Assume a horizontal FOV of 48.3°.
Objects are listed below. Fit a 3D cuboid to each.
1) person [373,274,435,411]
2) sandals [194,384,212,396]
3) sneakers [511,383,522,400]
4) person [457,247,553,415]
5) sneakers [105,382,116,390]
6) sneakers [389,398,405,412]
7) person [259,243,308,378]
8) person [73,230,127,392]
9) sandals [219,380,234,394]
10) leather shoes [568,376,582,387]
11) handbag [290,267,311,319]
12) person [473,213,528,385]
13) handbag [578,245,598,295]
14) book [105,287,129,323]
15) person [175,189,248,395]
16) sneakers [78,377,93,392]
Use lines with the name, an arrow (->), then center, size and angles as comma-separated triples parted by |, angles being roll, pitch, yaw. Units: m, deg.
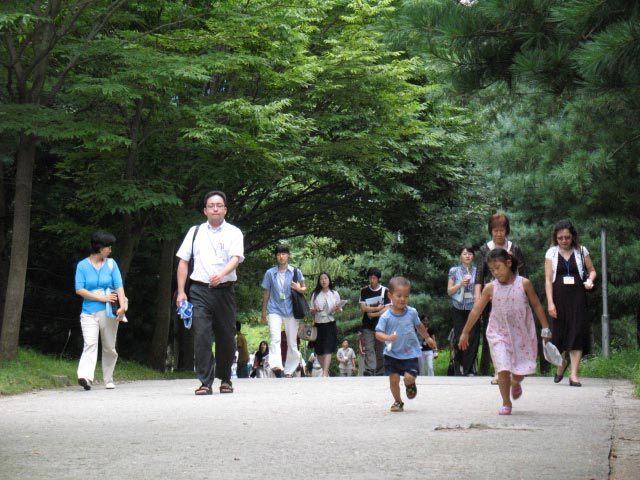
person -> 0.879, 1.046, 7.315 | 0.581, 1.355, 1.537 | -2, -10, 5
sandals -> -1.412, 1.849, 8.734 | 0.207, 0.089, 0.100 | -1, -9, 12
sneakers -> 1.852, 1.422, 6.716 | 0.093, 0.259, 0.070 | 1, -4, -1
person -> 1.713, 0.839, 6.580 | 0.804, 1.505, 0.782 | -3, -10, 9
sneakers -> -2.992, 2.102, 10.270 | 0.080, 0.083, 0.216 | 1, -14, -3
sneakers -> 0.769, 1.650, 7.117 | 0.135, 0.148, 0.360 | -4, -18, 7
person -> -0.643, 1.296, 12.929 | 0.736, 2.360, 1.187 | -1, -9, -3
person -> -3.100, 0.983, 10.085 | 0.598, 2.214, 0.748 | -10, -13, 42
sandals -> -1.181, 1.871, 9.073 | 0.149, 0.156, 0.357 | 1, -19, -2
leather shoes -> 3.331, 1.867, 9.350 | 0.081, 0.091, 0.237 | 0, -14, 1
handbag -> -0.360, 0.950, 12.746 | 0.263, 0.920, 0.446 | -4, -10, 17
person -> 2.467, 0.867, 9.640 | 0.865, 2.509, 0.756 | -11, 23, -11
handbag -> 3.510, 0.440, 9.308 | 0.168, 0.474, 0.344 | -5, 19, 15
book -> -2.961, 0.924, 10.091 | 0.154, 0.456, 0.361 | -7, -11, 27
person -> -1.340, 0.604, 8.781 | 0.803, 2.554, 0.858 | 0, -9, -9
sneakers -> -3.177, 1.958, 9.725 | 0.099, 0.265, 0.120 | -12, 24, -10
